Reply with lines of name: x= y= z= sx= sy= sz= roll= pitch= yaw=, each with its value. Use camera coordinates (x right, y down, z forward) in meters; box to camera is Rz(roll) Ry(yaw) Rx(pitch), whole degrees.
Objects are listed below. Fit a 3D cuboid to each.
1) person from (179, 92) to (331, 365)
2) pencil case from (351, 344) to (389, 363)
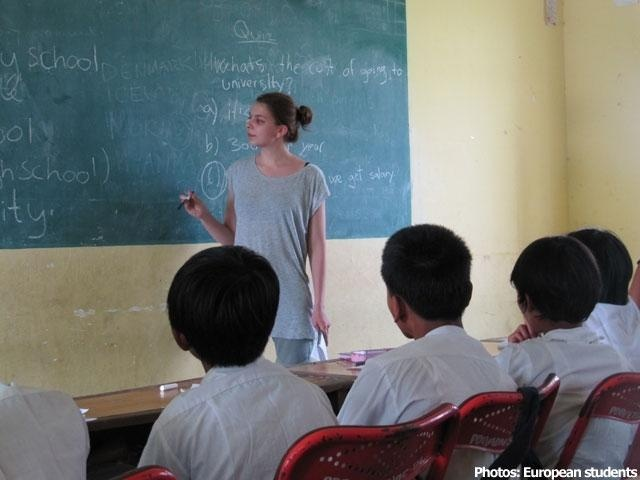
person: x=-0.225 y=0.259 z=2.694 sx=0.617 sy=1.789 sz=0.420 roll=2 pitch=11 yaw=3
pencil case: x=0.186 y=0.442 z=2.261 sx=0.134 sy=0.037 sz=0.141 roll=3 pitch=-5 yaw=-43
